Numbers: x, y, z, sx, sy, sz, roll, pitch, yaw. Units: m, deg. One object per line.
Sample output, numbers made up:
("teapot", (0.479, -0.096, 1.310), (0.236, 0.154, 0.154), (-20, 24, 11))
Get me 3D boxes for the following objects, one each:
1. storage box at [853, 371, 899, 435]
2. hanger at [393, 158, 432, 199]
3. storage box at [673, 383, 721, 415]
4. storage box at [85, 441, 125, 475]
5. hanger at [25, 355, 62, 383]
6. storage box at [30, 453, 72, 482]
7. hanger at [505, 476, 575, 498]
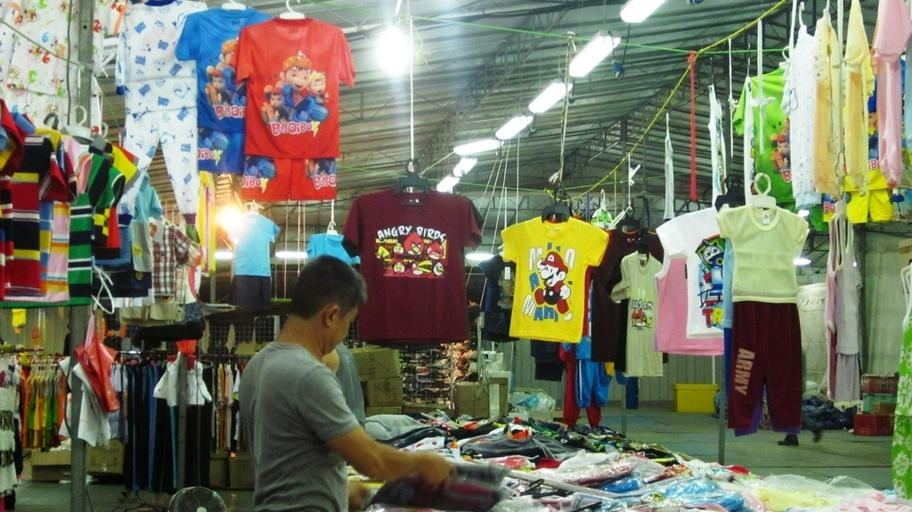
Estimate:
("storage box", (7.995, 2.855, 20.160), (0.528, 1.967, 1.078), (2, -1, 16))
("hanger", (-0.508, -0.911, 12.458), (0.403, 0.451, 0.463), (0, -7, -2))
("storage box", (5.657, 3.356, 25.069), (0.970, 0.668, 0.690), (-2, -7, 12))
("storage box", (-5.310, 3.051, 16.118), (0.659, 0.515, 0.402), (-1, -7, 3))
("hanger", (-6.178, 1.706, 15.852), (0.449, 0.206, 0.597), (4, -7, -25))
("storage box", (-6.288, 3.270, 16.426), (0.835, 0.495, 0.810), (3, -6, -16))
("hanger", (0.881, 2.493, 11.393), (0.768, 0.155, 0.176), (15, 29, -1))
